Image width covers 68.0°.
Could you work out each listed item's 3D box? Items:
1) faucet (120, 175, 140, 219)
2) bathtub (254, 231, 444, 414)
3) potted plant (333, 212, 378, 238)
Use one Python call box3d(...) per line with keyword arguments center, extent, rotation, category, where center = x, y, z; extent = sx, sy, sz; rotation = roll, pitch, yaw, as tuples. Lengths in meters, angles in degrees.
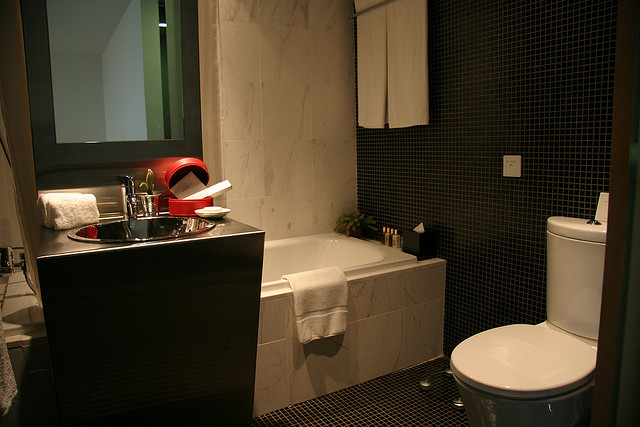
box3d(center=(-1.128, -0.100, 2.822), extent=(0.095, 0.234, 0.338), rotation=(-7, 14, -21), category="faucet")
box3d(center=(-0.020, 0.675, 3.509), extent=(1.634, 0.781, 1.173), rotation=(-6, 7, -24), category="bathtub")
box3d(center=(0.303, 0.100, 3.834), extent=(0.216, 0.161, 0.248), rotation=(-13, 5, 4), category="potted plant")
